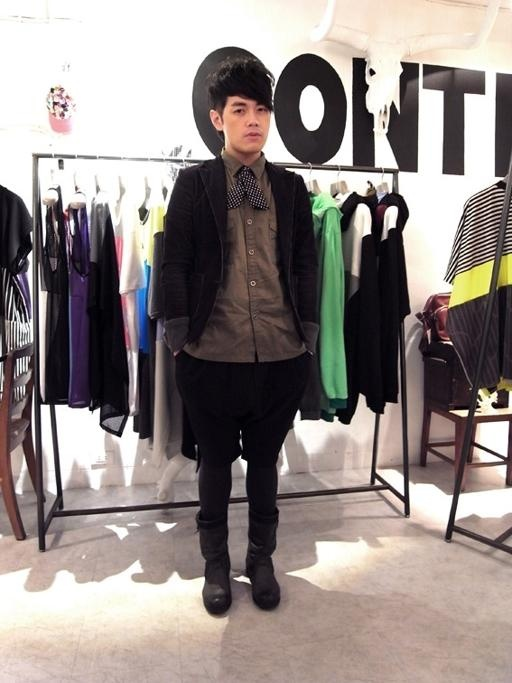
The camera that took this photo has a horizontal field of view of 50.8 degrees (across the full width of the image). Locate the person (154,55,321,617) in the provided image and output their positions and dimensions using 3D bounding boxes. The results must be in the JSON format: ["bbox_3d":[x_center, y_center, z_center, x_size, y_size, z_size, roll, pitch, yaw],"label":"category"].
[{"bbox_3d":[-0.042,0.007,1.642,0.461,1.627,0.269,0,4,2],"label":"person"}]

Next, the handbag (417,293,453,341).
[{"bbox_3d":[0.914,-0.124,2.770,0.169,0.307,0.098,5,6,9],"label":"handbag"}]

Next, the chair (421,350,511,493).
[{"bbox_3d":[1.130,0.353,2.820,0.463,0.708,0.529,0,5,-4],"label":"chair"}]

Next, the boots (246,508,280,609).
[{"bbox_3d":[0.028,0.687,1.734,0.079,0.241,0.275,0,-1,-3],"label":"boots"}]
